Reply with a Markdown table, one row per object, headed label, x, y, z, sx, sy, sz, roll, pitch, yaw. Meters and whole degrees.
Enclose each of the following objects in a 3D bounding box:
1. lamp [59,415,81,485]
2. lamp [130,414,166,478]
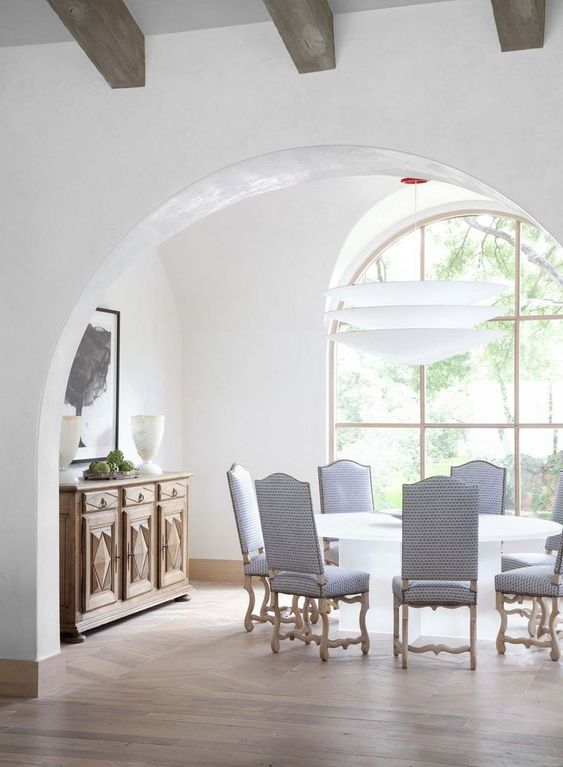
| label | x | y | z | sx | sy | sz | roll | pitch | yaw |
| --- | --- | --- | --- | --- | --- | --- | --- | --- | --- |
| lamp | -1.380 | 0.433 | 4.731 | 0.122 | 0.440 | 0.367 | 2 | -8 | -16 |
| lamp | -1.092 | 0.508 | 5.875 | 0.247 | 0.478 | 0.641 | 1 | -7 | -11 |
